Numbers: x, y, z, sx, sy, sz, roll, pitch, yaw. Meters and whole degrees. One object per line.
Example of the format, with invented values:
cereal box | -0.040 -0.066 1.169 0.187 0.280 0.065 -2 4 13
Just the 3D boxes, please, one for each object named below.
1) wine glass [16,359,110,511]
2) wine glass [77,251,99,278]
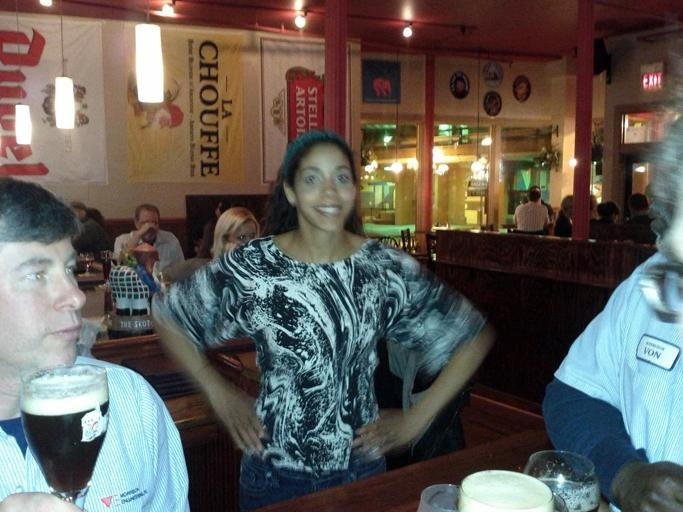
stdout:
wine glass | -0.531 0.371 1.089 0.150 0.300 0.155 -8 10 -38
wine glass | -2.533 0.091 5.539 0.217 0.278 0.239 1 7 -3
